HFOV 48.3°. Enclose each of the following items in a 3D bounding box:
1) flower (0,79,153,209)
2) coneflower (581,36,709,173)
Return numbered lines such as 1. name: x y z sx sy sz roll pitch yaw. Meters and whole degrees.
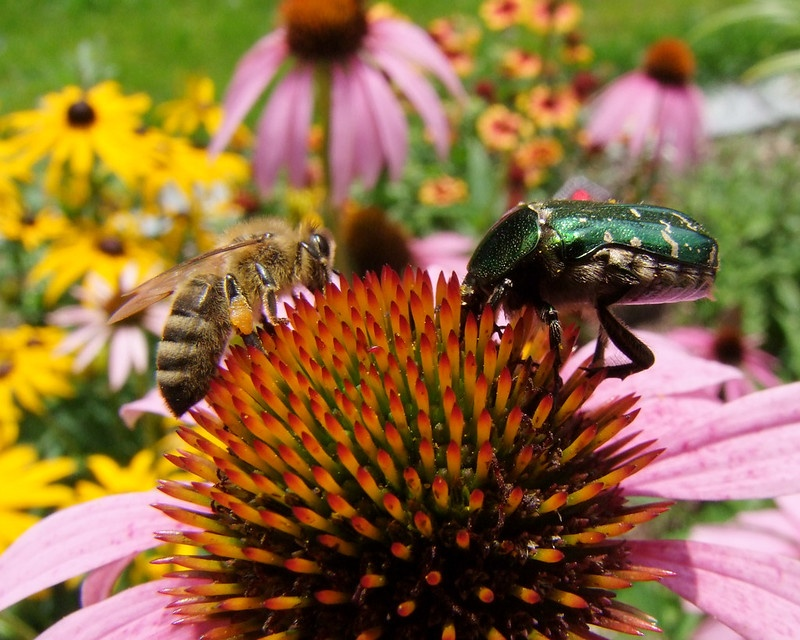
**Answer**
1. flower: -1.195 -0.655 3.432 0.434 0.224 0.453 6 63 0
2. coneflower: 1.059 -0.904 3.820 0.467 0.359 0.408 -11 57 1
